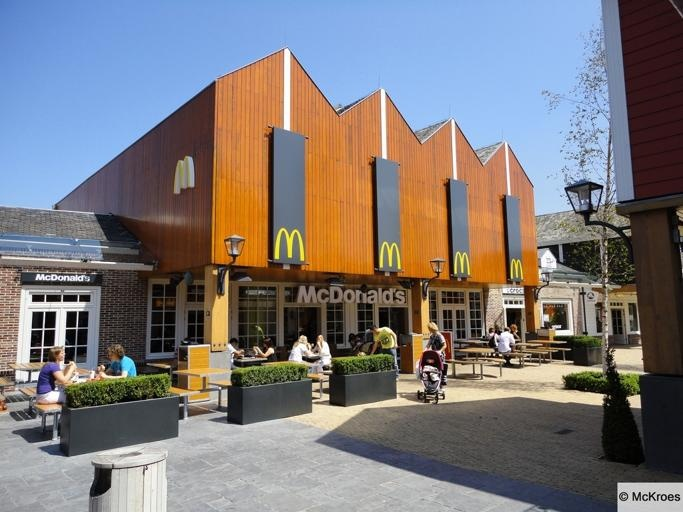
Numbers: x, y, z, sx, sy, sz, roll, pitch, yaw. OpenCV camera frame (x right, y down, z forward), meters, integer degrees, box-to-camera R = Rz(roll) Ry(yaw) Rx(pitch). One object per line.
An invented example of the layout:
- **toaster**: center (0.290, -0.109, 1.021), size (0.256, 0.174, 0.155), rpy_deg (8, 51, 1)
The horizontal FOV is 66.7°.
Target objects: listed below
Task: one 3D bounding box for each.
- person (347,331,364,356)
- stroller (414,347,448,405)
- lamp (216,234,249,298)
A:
- **person**: center (0.550, 3.372, 19.882), size (0.561, 0.936, 0.898), rpy_deg (1, -10, -1)
- **stroller**: center (2.693, 3.410, 14.504), size (0.766, 1.645, 1.306), rpy_deg (0, -17, 7)
- **lamp**: center (-3.138, 0.271, 14.846), size (0.675, 1.713, 1.388), rpy_deg (0, -1, -25)
